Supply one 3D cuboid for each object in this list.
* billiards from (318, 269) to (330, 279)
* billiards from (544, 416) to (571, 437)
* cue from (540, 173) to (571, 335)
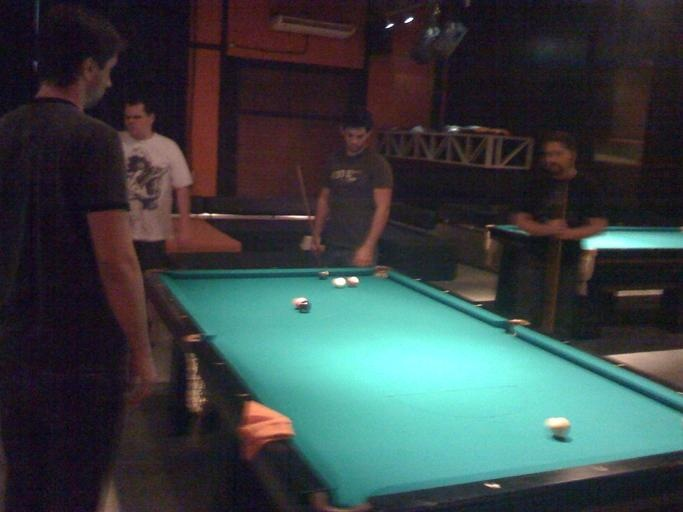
[{"bbox_3d":[-0.085,0.095,3.474,0.041,0.043,0.052,14,30,31],"label":"billiards"},{"bbox_3d":[0.623,0.490,1.843,0.064,0.044,0.047,3,-27,-44],"label":"billiards"},{"bbox_3d":[1.582,0.056,4.631,0.122,1.072,0.108,8,-19,-2],"label":"cue"}]
